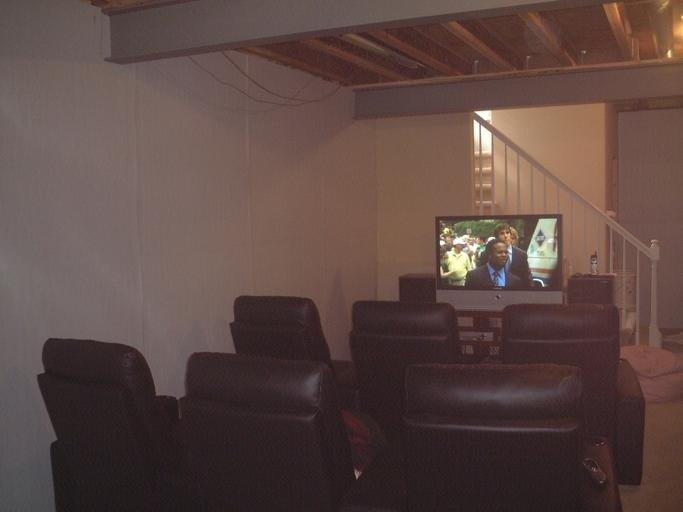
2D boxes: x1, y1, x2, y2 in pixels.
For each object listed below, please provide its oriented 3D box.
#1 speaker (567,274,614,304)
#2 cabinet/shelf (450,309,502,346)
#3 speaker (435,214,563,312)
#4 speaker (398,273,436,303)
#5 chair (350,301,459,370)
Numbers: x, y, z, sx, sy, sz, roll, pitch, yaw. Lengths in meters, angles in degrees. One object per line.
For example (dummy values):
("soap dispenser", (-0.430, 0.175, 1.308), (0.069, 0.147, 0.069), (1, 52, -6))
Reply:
("speaker", (2.386, 0.313, 6.583), (0.420, 0.434, 0.262), (-1, -2, 29))
("cabinet/shelf", (1.174, 0.590, 5.828), (0.443, 0.283, 0.474), (0, -7, 5))
("speaker", (1.263, 0.046, 5.580), (1.012, 0.792, 0.221), (2, 5, 21))
("speaker", (0.740, 0.278, 6.417), (0.262, 0.182, 0.282), (1, 6, 24))
("chair", (0.315, 0.377, 3.595), (0.429, 0.444, 0.341), (1, 12, 15))
